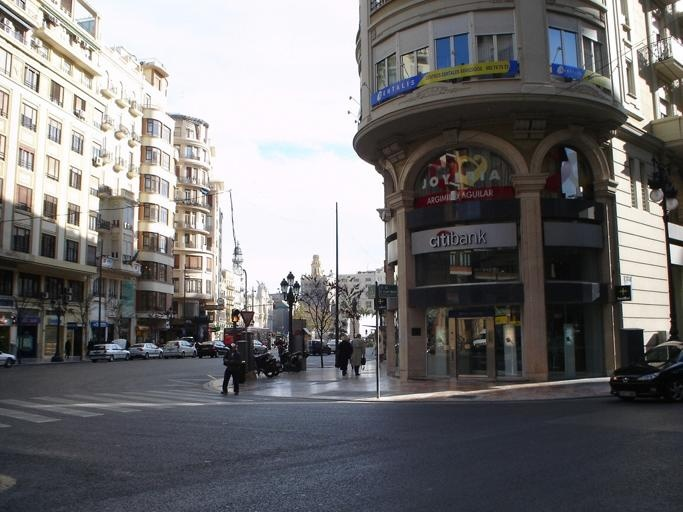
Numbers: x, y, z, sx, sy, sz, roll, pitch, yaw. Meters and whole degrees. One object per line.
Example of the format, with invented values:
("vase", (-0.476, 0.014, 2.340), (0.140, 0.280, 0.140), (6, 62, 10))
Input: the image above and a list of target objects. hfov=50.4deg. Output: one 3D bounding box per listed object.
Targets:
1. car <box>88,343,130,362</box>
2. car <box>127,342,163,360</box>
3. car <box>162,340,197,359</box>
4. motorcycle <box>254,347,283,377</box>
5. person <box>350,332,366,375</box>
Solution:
("car", (-16.964, 7.031, 52.857), (1.408, 1.409, 2.895), (-4, -13, 18))
("car", (-15.629, 7.403, 56.967), (1.074, 1.332, 3.910), (-3, -13, 15))
("car", (-13.348, 7.579, 59.508), (1.335, 1.560, 2.686), (-10, -15, 39))
("motorcycle", (-3.942, 5.153, 34.957), (0.832, 1.298, 1.819), (4, -3, -42))
("person", (0.724, 4.874, 35.579), (0.708, 2.142, 0.676), (5, -31, 0))
